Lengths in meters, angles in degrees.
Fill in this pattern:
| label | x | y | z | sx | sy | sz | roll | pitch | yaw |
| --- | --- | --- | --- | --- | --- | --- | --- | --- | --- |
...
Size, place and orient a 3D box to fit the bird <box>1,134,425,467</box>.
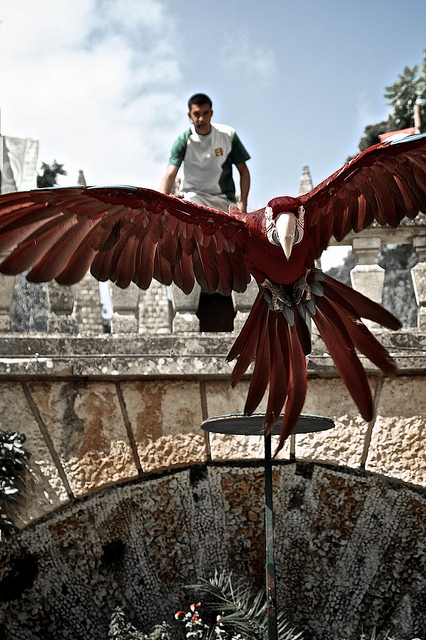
| label | x | y | z | sx | sy | sz | roll | pitch | yaw |
| --- | --- | --- | --- | --- | --- | --- | --- | --- | --- |
| bird | 0.027 | 0.014 | 5.257 | 1.883 | 1.124 | 0.818 | -9 | -15 | -22 |
